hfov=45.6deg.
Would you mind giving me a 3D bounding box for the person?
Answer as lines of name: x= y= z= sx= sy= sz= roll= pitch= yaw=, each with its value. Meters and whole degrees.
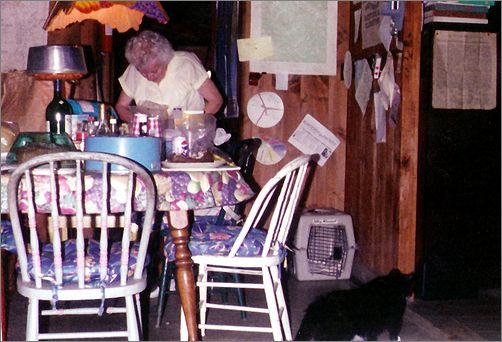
person: x=-0.597 y=-0.194 z=4.397 sx=0.693 sy=1.656 sz=0.715 roll=-3 pitch=-4 yaw=0
